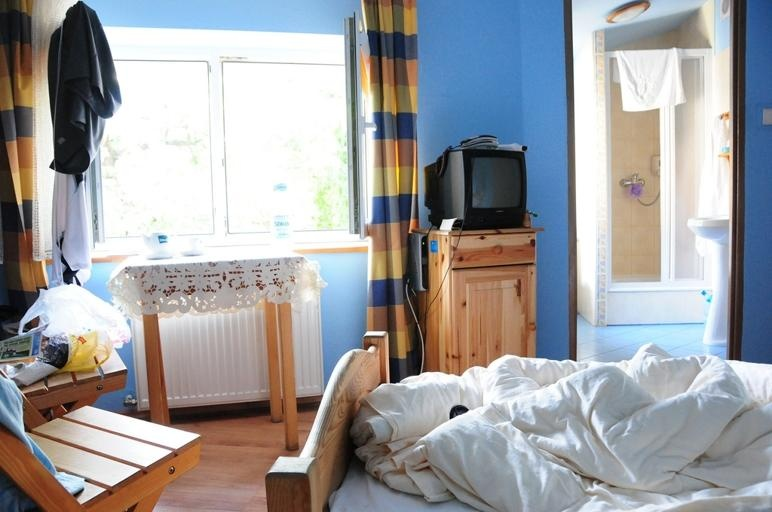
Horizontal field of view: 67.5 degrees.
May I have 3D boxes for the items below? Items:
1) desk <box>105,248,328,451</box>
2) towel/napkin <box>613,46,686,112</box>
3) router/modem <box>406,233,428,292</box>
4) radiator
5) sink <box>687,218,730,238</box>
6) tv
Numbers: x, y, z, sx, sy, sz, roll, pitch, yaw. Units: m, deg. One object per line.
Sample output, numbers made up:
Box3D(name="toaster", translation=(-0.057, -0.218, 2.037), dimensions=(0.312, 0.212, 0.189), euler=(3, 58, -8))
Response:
Box3D(name="desk", translation=(-0.990, 0.562, 3.794), dimensions=(1.273, 1.287, 1.145), euler=(-5, 11, -16))
Box3D(name="towel/napkin", translation=(2.381, -1.584, 5.178), dimensions=(0.656, 0.629, 0.132), euler=(-3, 7, 3))
Box3D(name="router/modem", translation=(0.203, 0.034, 3.738), dimensions=(0.070, 0.304, 0.295), euler=(-2, 0, -21))
Box3D(name="radiator", translation=(-1.022, 0.527, 3.517), dimensions=(0.828, 0.595, 0.064), euler=(-2, 10, -9))
Box3D(name="sink", translation=(2.486, -0.216, 4.440), dimensions=(0.207, 0.092, 0.166), euler=(0, 10, -10))
Box3D(name="tv", translation=(0.558, -0.379, 3.643), dimensions=(0.467, 0.411, 0.536), euler=(-2, 2, -28))
